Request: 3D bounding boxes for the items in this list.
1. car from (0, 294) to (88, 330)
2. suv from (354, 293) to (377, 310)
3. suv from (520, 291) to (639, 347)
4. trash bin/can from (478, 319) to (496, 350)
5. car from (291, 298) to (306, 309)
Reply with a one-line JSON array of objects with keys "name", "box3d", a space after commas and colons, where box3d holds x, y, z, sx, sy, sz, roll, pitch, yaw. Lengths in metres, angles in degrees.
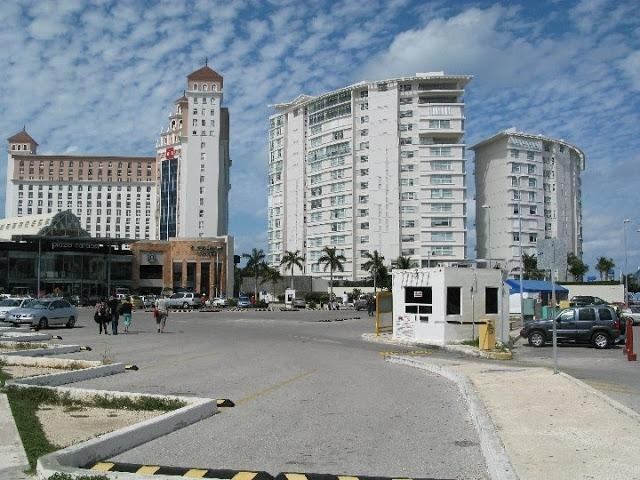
[{"name": "car", "box3d": [-15.034, 3.999, 34.022, 1.385, 1.703, 4.052, -4, -7, 11]}, {"name": "suv", "box3d": [5.645, 7.911, 79.991, 3.086, 1.840, 1.968, 1, -4, 8]}, {"name": "suv", "box3d": [11.645, 3.915, 28.172, 3.871, 1.872, 2.519, -6, -8, 24]}, {"name": "trash bin/can", "box3d": [6.479, 3.695, 24.324, 0.606, 1.168, 1.104, -4, -7, 12]}, {"name": "car", "box3d": [-2.884, 8.412, 82.974, 1.412, 1.083, 2.995, 0, 1, -2]}]
